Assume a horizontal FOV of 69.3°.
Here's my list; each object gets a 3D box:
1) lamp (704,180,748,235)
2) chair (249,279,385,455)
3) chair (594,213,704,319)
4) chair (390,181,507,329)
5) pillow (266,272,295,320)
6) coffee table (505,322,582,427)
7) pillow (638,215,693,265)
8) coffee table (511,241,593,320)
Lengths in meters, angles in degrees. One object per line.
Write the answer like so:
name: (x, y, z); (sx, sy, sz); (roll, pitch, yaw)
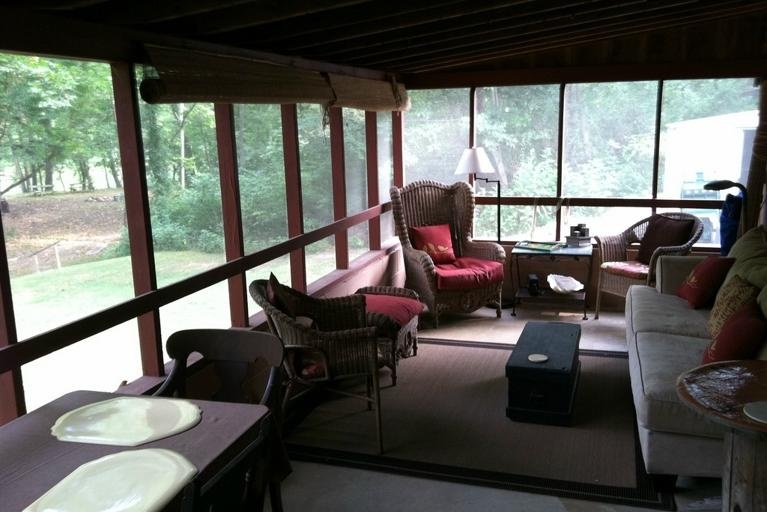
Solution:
lamp: (3.540, -0.513, 5.694); (0.336, 0.715, 0.182); (14, 66, 36)
chair: (-0.445, 0.727, 4.279); (1.060, 1.107, 1.034); (2, 10, 15)
chair: (2.907, 0.119, 6.056); (1.030, 1.093, 1.004); (-3, 11, 8)
chair: (0.728, -0.078, 6.362); (1.383, 1.385, 1.282); (5, 17, 13)
pillow: (-0.749, 0.295, 4.022); (0.186, 0.319, 0.297); (-3, 14, -10)
coffee table: (1.357, 0.922, 4.588); (0.571, 0.455, 0.982); (1, 17, 26)
pillow: (3.000, -0.154, 5.840); (0.192, 0.501, 0.482); (23, 1, -22)
coffee table: (1.981, 0.284, 6.536); (0.909, 0.745, 0.611); (2, 7, 20)
